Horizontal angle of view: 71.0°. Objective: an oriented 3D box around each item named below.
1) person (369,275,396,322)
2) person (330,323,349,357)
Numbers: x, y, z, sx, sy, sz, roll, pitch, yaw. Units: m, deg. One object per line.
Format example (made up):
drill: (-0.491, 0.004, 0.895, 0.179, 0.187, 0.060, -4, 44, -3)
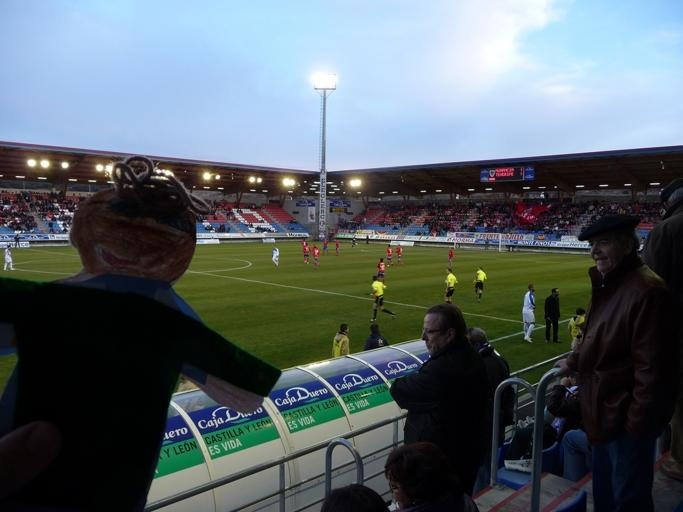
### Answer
person: (1.526, 1.666, 18.279, 1.088, 1.701, 0.686, 15, 34, 30)
person: (-0.032, 1.810, 10.191, 0.342, 0.715, 0.705, -5, 8, -5)
